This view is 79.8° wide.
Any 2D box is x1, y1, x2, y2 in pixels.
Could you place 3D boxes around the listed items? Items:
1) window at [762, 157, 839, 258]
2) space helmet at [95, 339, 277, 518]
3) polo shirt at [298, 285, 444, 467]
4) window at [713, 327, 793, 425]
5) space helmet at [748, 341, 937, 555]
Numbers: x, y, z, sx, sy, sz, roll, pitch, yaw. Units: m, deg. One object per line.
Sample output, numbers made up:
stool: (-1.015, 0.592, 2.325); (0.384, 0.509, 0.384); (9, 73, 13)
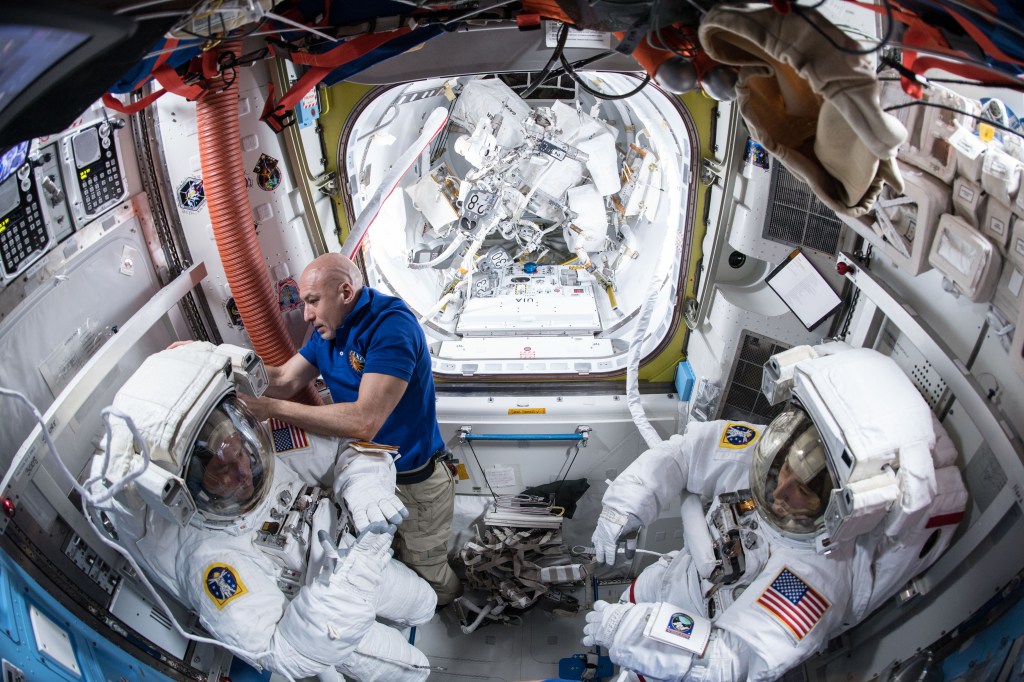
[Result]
window: (1.703, -0.801, 3.618); (0.044, 0.574, 0.651); (-25, 16, -18)
space helmet: (-1.688, 0.480, 3.158); (0.631, 0.626, 0.642); (14, 43, 13)
polo shirt: (-0.967, 0.272, 4.048); (0.660, 1.081, 1.050); (-22, 23, -32)
window: (1.677, 0.215, 4.257); (0.575, 0.811, 0.088); (16, 37, 21)
space helmet: (1.841, 0.412, 3.248); (0.714, 0.488, 0.936); (-19, 51, 5)
